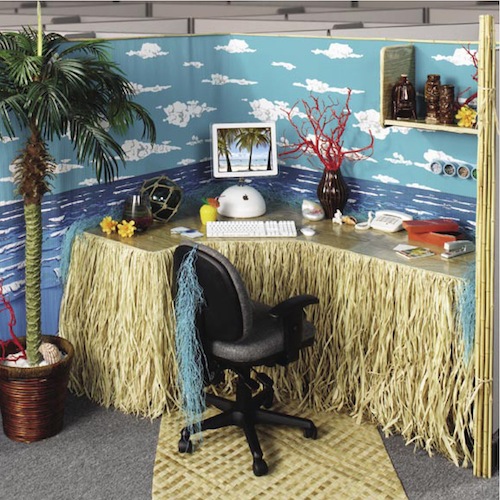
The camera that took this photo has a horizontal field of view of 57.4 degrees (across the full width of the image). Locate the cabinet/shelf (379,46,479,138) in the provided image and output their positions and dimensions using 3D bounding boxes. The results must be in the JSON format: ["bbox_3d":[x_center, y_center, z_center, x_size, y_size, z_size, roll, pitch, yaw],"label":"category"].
[{"bbox_3d":[0.749,-0.772,2.253,0.571,0.377,0.453,10,20,31],"label":"cabinet/shelf"}]

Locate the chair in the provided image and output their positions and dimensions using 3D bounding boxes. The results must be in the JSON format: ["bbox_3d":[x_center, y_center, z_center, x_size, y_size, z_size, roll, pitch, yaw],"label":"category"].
[{"bbox_3d":[-0.024,0.415,2.001,0.582,0.745,0.650,1,1,-28],"label":"chair"}]

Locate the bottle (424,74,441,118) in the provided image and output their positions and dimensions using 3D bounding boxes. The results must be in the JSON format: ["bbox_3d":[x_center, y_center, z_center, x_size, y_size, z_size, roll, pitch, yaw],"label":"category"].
[{"bbox_3d":[0.847,-0.710,2.110,0.070,0.209,0.151,5,14,18],"label":"bottle"}]

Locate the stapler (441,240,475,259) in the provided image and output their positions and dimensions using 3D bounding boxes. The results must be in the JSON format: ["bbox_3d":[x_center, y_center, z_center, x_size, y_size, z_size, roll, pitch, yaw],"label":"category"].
[{"bbox_3d":[0.982,-0.008,2.078,0.293,0.074,0.057,-10,12,-37],"label":"stapler"}]

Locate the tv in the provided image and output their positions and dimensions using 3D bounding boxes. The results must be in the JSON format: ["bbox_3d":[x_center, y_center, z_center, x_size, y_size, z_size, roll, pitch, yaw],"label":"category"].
[{"bbox_3d":[-0.023,-0.581,2.678,0.536,0.371,0.042,-1,9,-3],"label":"tv"}]

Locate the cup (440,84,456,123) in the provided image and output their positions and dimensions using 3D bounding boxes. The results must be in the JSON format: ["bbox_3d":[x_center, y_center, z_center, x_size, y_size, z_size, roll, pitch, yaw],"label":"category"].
[{"bbox_3d":[0.884,-0.648,2.031,0.073,0.175,0.087,5,15,20],"label":"cup"}]

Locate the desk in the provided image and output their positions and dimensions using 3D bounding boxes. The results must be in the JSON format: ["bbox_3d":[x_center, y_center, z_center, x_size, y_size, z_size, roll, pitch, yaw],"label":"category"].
[{"bbox_3d":[0.139,0.352,2.129,1.566,0.616,1.170,11,16,40],"label":"desk"}]
